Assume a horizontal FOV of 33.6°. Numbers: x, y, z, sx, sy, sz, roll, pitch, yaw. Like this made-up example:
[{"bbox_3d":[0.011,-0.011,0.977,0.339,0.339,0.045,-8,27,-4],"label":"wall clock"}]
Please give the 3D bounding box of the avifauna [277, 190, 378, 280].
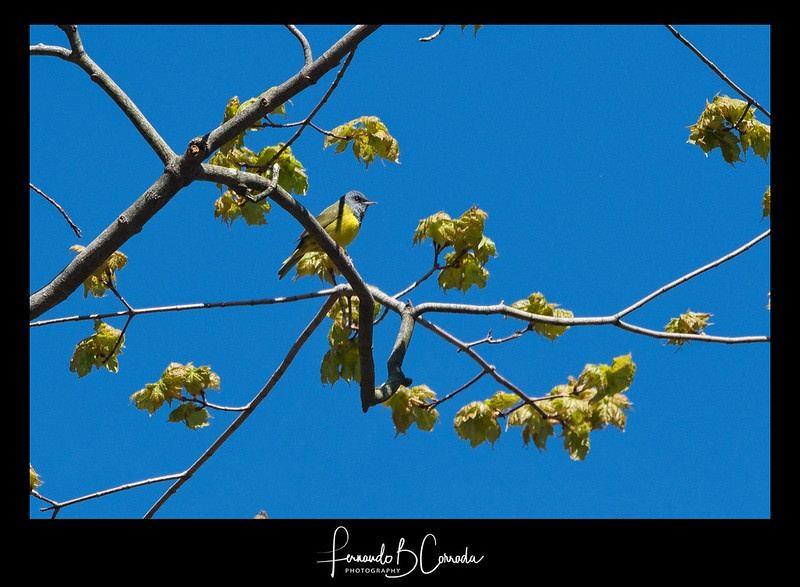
[{"bbox_3d":[-0.545,-0.449,9.586,0.780,0.450,0.283,-14,-19,10],"label":"avifauna"}]
